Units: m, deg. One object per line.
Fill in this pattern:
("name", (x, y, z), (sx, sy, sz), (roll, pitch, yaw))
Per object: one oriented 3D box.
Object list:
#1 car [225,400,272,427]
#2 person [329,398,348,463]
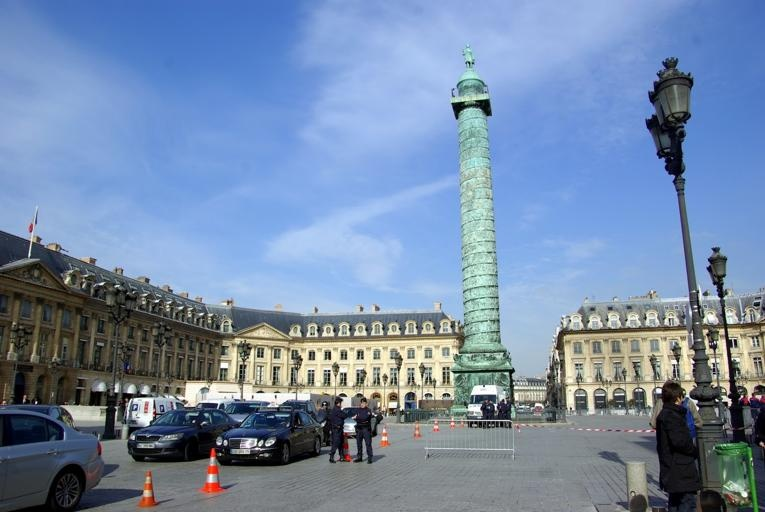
("car", (-6.467, 7.138, 27.162), (1.468, 0.952, 2.911), (-1, -18, 0))
("person", (-1.487, 5.714, 19.534), (0.515, 2.057, 1.009), (0, -17, -4))
